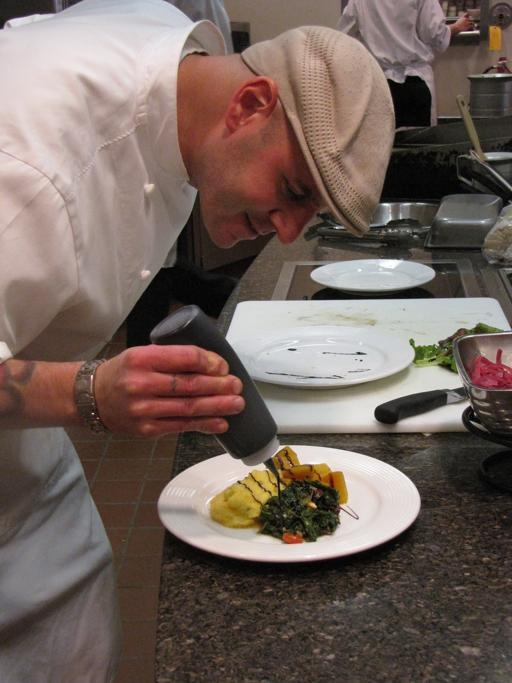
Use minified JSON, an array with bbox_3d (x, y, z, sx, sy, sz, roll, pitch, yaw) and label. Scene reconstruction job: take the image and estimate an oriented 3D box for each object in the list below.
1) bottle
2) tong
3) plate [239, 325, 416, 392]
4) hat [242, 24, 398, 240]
[{"bbox_3d":[-0.030,0.050,0.578,0.077,0.263,0.070,-31,25,17],"label":"bottle"},{"bbox_3d":[0.440,-0.417,2.127,0.434,0.125,0.273,2,10,8],"label":"tong"},{"bbox_3d":[0.146,-0.022,1.055,0.387,0.105,0.312,2,17,22],"label":"plate"},{"bbox_3d":[0.112,-0.293,0.785,0.200,0.274,0.192,-4,30,14],"label":"hat"}]
